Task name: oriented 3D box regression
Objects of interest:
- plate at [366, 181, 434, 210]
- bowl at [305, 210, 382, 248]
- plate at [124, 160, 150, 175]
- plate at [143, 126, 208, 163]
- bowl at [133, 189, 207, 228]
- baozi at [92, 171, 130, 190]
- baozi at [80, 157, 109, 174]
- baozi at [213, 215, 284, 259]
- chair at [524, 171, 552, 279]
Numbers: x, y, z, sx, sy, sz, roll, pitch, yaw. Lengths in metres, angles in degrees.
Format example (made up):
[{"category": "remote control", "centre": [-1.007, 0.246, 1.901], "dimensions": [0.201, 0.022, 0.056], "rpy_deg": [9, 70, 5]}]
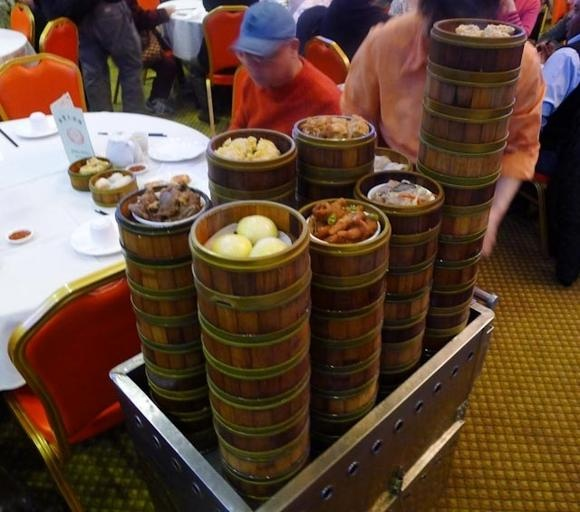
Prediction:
[{"category": "plate", "centre": [0.241, -0.132, 1.045], "dimensions": [0.142, 0.023, 0.122], "rpy_deg": [-7, 34, -11]}, {"category": "bowl", "centre": [0.104, -0.055, 0.909], "dimensions": [0.134, 0.039, 0.124], "rpy_deg": [0, 33, 0]}, {"category": "plate", "centre": [-0.684, -0.410, 2.224], "dimensions": [0.095, 0.027, 0.101], "rpy_deg": [6, 37, 9]}, {"category": "plate", "centre": [-0.576, -0.547, 2.410], "dimensions": [0.339, 0.053, 0.362], "rpy_deg": [10, 36, 10]}, {"category": "bowl", "centre": [-0.228, -0.092, 0.914], "dimensions": [0.144, 0.033, 0.153], "rpy_deg": [0, 33, 0]}, {"category": "baozi", "centre": [-0.712, -0.300, 1.964], "dimensions": [0.097, 0.037, 0.095], "rpy_deg": [-26, 33, -23]}, {"category": "baozi", "centre": [-0.839, -0.392, 2.095], "dimensions": [0.094, 0.033, 0.099], "rpy_deg": [2, 38, -10]}, {"category": "baozi", "centre": [-0.073, -0.033, 0.817], "dimensions": [0.114, 0.070, 0.084], "rpy_deg": [-15, 34, -28]}, {"category": "chair", "centre": [1.576, -0.189, 3.095], "dimensions": [0.147, 0.664, 0.163], "rpy_deg": [12, 32, 27]}]
